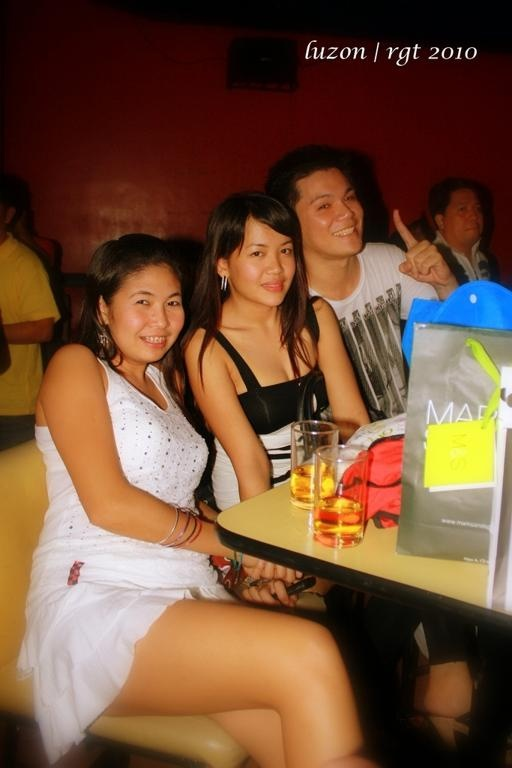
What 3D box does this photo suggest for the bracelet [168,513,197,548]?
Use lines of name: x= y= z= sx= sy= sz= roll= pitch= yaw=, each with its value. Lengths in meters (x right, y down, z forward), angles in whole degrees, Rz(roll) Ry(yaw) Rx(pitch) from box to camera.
bracelet: x=-0.150 y=0.293 z=1.193 sx=0.066 sy=0.049 sz=0.066 roll=-1 pitch=-7 yaw=-1

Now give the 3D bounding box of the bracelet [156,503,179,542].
bracelet: x=-0.169 y=0.276 z=1.174 sx=0.013 sy=0.052 sz=0.054 roll=8 pitch=-24 yaw=-21

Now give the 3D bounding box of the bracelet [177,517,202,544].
bracelet: x=-0.137 y=0.301 z=1.202 sx=0.048 sy=0.046 sz=0.048 roll=-7 pitch=6 yaw=-10
